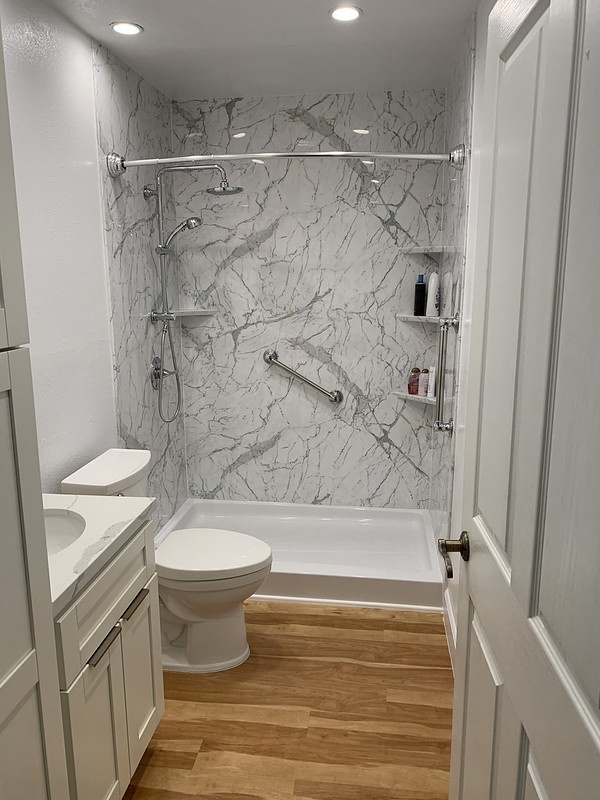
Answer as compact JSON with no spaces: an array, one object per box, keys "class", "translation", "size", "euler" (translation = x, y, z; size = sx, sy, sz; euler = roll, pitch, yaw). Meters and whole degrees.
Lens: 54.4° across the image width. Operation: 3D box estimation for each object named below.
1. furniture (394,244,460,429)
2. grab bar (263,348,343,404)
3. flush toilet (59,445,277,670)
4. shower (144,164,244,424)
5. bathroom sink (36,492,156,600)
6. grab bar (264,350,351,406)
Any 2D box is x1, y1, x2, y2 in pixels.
[{"class":"furniture","translation":[0.644,-0.373,2.967],"size":[0.289,1.124,0.803],"euler":[2,7,8]},{"class":"grab bar","translation":[0.032,-0.154,3.376],"size":[0.395,0.102,0.078],"euler":[35,11,-2]},{"class":"flush toilet","translation":[-0.417,0.587,2.559],"size":[0.850,0.960,0.574],"euler":[1,14,2]},{"class":"shower","translation":[-0.564,-0.526,2.994],"size":[0.421,1.410,0.867],"euler":[-3,9,-14]},{"class":"bathroom sink","translation":[-0.552,0.349,1.475],"size":[0.176,0.068,0.283],"euler":[1,12,0]},{"class":"grab bar","translation":[0.061,-0.142,3.375],"size":[0.401,0.101,0.079],"euler":[33,18,2]}]
